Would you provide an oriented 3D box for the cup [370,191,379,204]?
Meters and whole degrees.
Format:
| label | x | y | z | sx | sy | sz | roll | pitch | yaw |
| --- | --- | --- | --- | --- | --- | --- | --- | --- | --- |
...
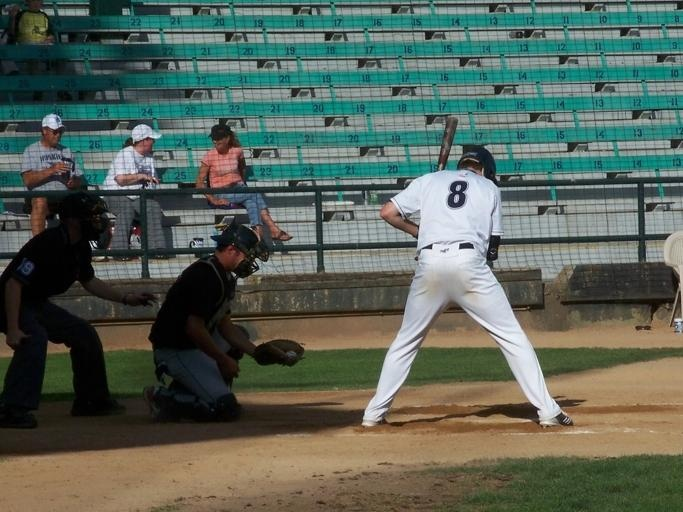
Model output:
| label | x | y | z | sx | sy | sz | roll | pitch | yaw |
| --- | --- | --- | --- | --- | --- | --- | --- | --- | --- |
| cup | 0.570 | -1.059 | 35.356 | 0.195 | 0.207 | 0.207 | 2 | 5 | 0 |

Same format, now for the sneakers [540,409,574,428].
| label | x | y | z | sx | sy | sz | roll | pitch | yaw |
| --- | --- | --- | --- | --- | --- | --- | --- | --- | --- |
| sneakers | 3.123 | 2.454 | 28.599 | 0.576 | 0.246 | 0.200 | -2 | 4 | -10 |

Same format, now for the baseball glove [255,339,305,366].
| label | x | y | z | sx | sy | sz | roll | pitch | yaw |
| --- | --- | --- | --- | --- | --- | --- | --- | --- | --- |
| baseball glove | -0.952 | 1.484 | 29.362 | 0.554 | 0.215 | 0.404 | 0 | 24 | 12 |

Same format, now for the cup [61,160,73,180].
| label | x | y | z | sx | sy | sz | roll | pitch | yaw |
| --- | --- | --- | --- | --- | --- | --- | --- | --- | --- |
| cup | -4.936 | -1.608 | 35.406 | 0.307 | 0.363 | 0.280 | 0 | -7 | 0 |

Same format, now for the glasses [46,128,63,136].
| label | x | y | z | sx | sy | sz | roll | pitch | yaw |
| --- | --- | --- | --- | --- | --- | --- | --- | --- | --- |
| glasses | -5.238 | -2.296 | 35.707 | 0.354 | 0.152 | 0.218 | 3 | 0 | 20 |

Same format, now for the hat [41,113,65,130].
| label | x | y | z | sx | sy | sz | roll | pitch | yaw |
| --- | --- | --- | --- | --- | --- | --- | --- | --- | --- |
| hat | -5.355 | -2.506 | 35.870 | 0.353 | 0.264 | 0.468 | -3 | 10 | -41 |

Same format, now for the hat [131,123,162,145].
| label | x | y | z | sx | sy | sz | roll | pitch | yaw |
| --- | --- | --- | --- | --- | --- | --- | --- | --- | --- |
| hat | -3.609 | -2.334 | 36.396 | 0.538 | 0.269 | 0.365 | -14 | 12 | -15 |
